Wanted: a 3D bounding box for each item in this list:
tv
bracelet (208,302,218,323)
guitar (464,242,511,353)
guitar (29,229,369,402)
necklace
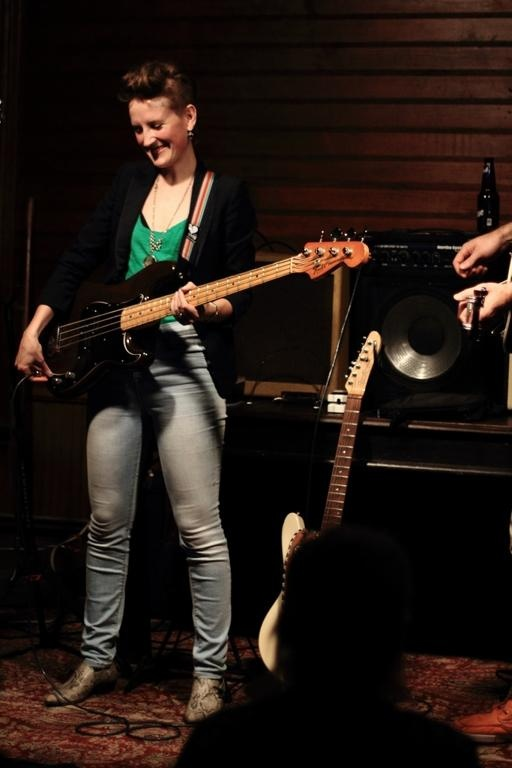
[{"bbox_3d":[0.121,-0.248,2.868,0.629,0.531,0.143,7,19,16],"label":"tv"},{"bbox_3d":[-0.112,-0.194,1.891,0.009,0.035,0.027,0,27,14],"label":"bracelet"},{"bbox_3d":[0.599,-0.191,1.814,0.062,0.213,0.137,1,15,3],"label":"guitar"},{"bbox_3d":[-0.220,-0.189,1.953,0.923,0.383,0.297,1,0,11],"label":"guitar"},{"bbox_3d":[-0.243,-0.453,2.047,0.120,0.280,0.034,12,-6,30],"label":"necklace"}]
